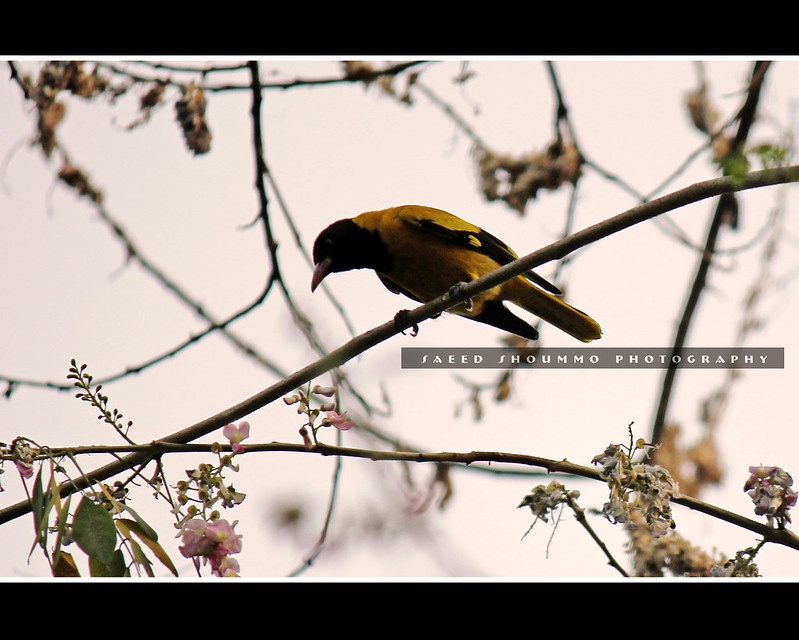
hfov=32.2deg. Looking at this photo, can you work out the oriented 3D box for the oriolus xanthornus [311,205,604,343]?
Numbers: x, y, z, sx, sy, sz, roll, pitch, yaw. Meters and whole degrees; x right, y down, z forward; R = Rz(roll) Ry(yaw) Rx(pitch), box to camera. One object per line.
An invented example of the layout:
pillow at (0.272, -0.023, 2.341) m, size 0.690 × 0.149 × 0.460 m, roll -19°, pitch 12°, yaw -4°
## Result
oriolus xanthornus at (0.219, -0.167, 5.124) m, size 1.151 × 0.426 × 0.388 m, roll 5°, pitch -39°, yaw -26°
